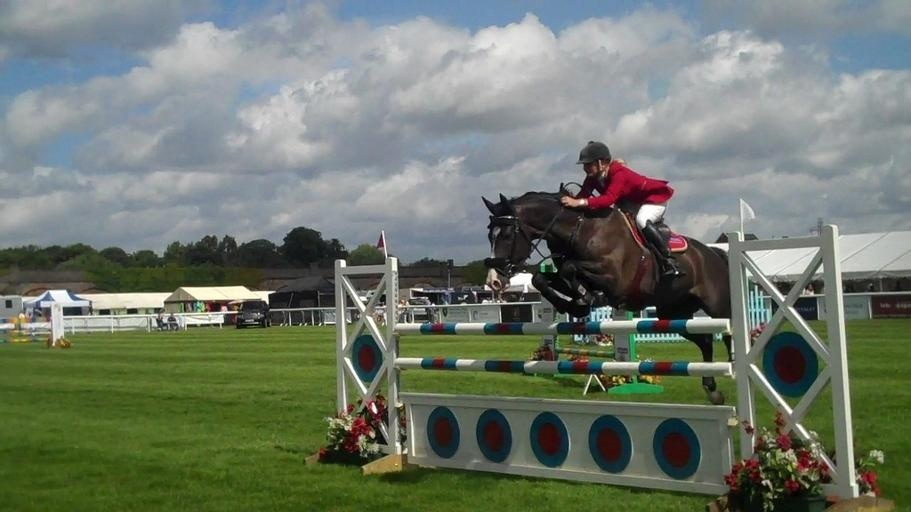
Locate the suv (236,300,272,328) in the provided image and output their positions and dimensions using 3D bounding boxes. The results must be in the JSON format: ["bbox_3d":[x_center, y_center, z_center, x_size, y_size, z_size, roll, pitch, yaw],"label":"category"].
[{"bbox_3d":[-9.151,2.593,36.365,1.324,1.159,2.007,-3,1,-7],"label":"suv"}]

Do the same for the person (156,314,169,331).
[{"bbox_3d":[-13.236,2.873,36.346,0.475,0.739,1.606,-4,2,-20],"label":"person"}]

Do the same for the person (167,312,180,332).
[{"bbox_3d":[-12.642,2.874,36.069,0.494,0.731,1.799,-4,2,-20],"label":"person"}]

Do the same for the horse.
[{"bbox_3d":[2.384,0.621,11.111,4.451,2.695,1.146,6,-9,-25],"label":"horse"}]

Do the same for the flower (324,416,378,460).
[{"bbox_3d":[-1.405,2.406,10.921,0.584,0.647,0.583,-5,-1,-25],"label":"flower"}]
